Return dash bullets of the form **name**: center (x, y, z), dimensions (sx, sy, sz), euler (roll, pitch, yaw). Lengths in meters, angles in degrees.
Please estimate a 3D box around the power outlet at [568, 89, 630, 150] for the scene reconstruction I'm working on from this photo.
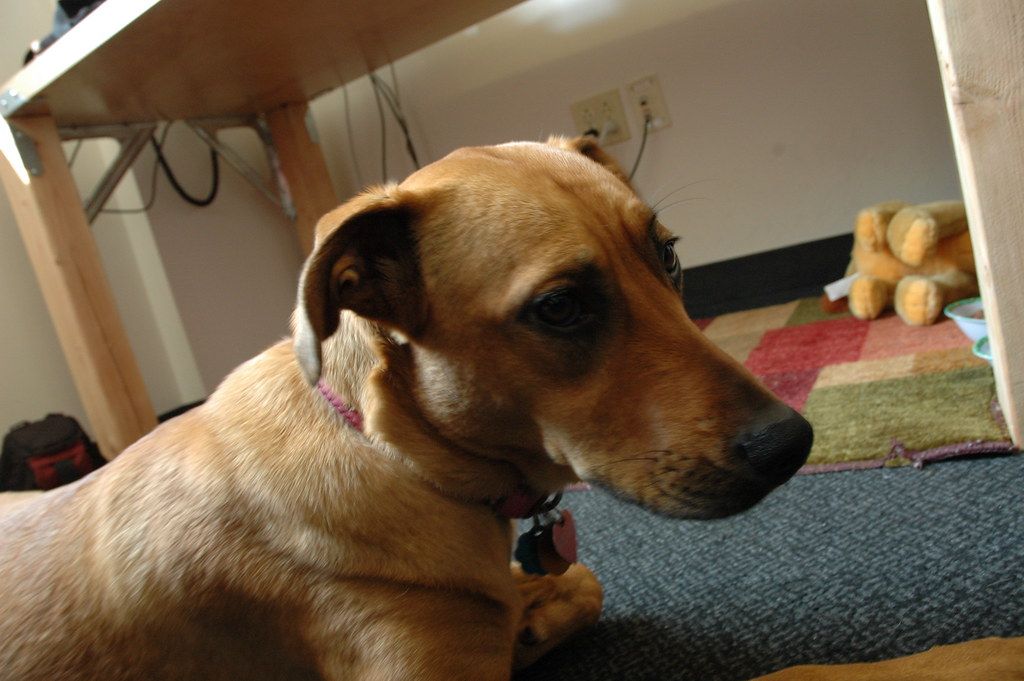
- **power outlet**: center (0.365, -0.902, 3.183), dimensions (0.248, 0.250, 0.025), euler (-32, 23, -31)
